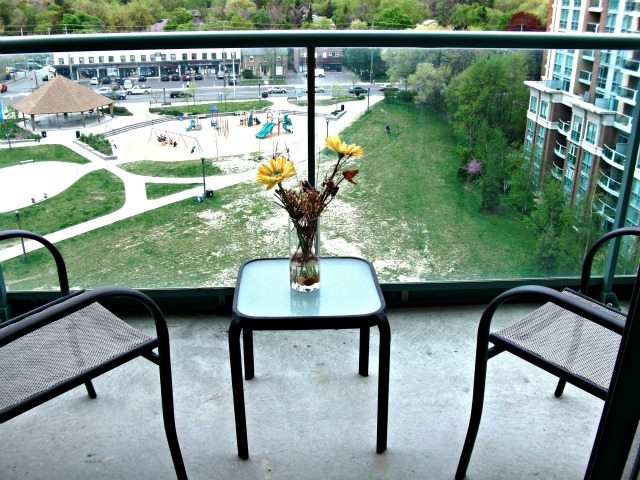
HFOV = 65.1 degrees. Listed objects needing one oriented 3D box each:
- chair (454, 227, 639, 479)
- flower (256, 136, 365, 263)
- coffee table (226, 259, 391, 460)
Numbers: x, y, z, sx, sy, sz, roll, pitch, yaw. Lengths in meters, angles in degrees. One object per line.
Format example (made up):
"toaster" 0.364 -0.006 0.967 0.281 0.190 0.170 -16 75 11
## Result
"chair" 0.935 0.455 2.065 0.546 0.899 0.659 -31 41 -29
"flower" -0.064 -0.208 2.544 0.671 0.624 0.298 -8 41 -6
"coffee table" -0.044 0.517 2.377 0.835 0.689 0.806 -1 27 -1
